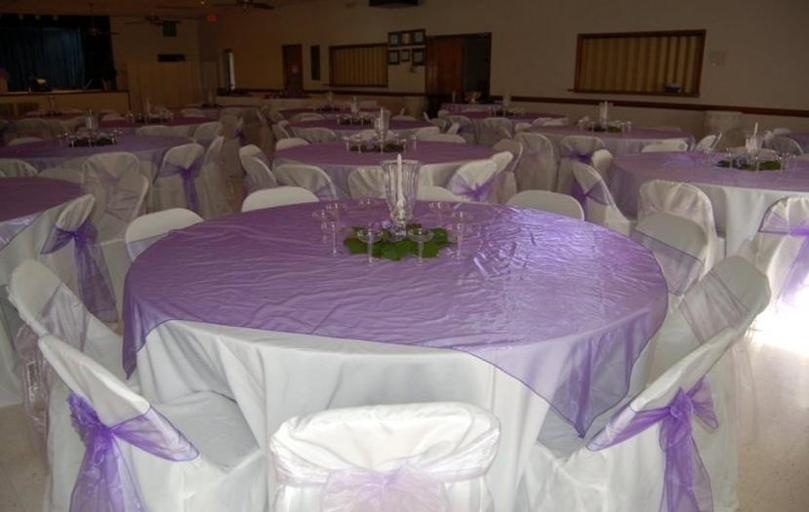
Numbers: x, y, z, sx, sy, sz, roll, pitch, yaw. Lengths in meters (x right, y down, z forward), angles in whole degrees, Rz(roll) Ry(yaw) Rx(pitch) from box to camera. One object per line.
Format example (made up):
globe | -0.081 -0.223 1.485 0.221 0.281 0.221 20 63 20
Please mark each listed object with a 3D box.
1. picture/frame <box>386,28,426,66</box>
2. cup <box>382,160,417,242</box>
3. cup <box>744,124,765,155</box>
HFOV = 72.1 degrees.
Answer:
picture/frame | 0.032 -5.081 13.562 1.254 0.828 0.077 15 22 42
cup | -0.017 -0.307 2.707 0.174 0.391 0.387 -1 16 -2
cup | 2.692 -0.894 4.288 0.093 0.215 0.086 -7 25 3
